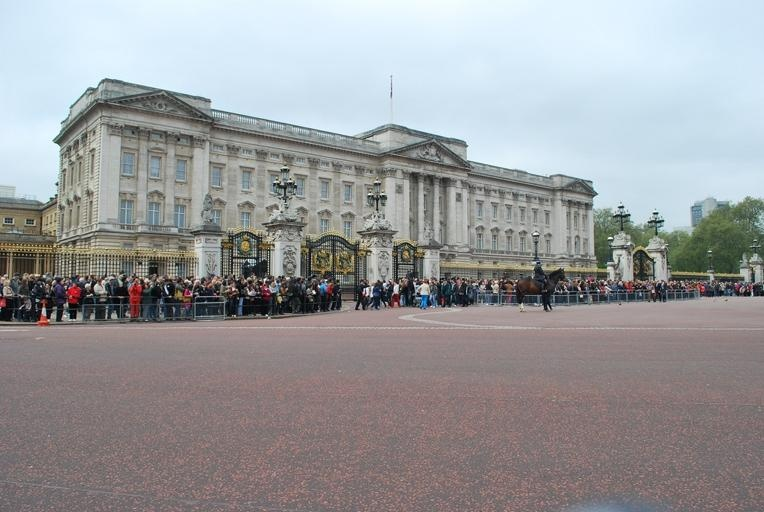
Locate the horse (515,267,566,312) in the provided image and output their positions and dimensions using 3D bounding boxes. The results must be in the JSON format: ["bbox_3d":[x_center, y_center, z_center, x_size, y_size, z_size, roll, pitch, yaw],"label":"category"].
[{"bbox_3d":[6.591,1.477,38.162,2.020,1.512,0.625,0,-14,2],"label":"horse"}]
